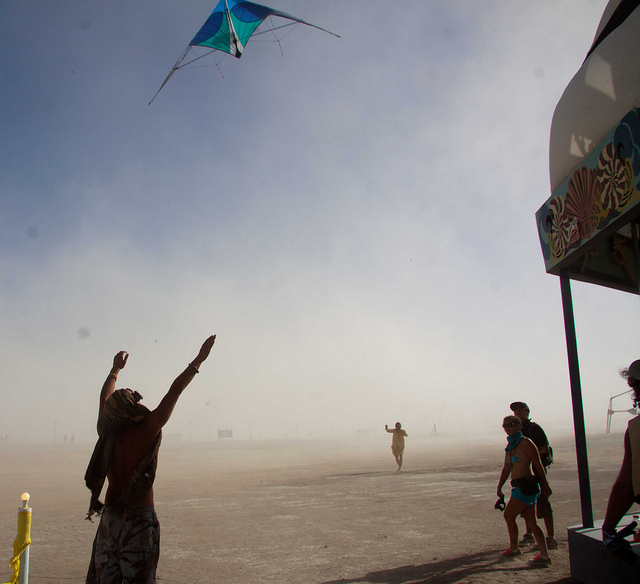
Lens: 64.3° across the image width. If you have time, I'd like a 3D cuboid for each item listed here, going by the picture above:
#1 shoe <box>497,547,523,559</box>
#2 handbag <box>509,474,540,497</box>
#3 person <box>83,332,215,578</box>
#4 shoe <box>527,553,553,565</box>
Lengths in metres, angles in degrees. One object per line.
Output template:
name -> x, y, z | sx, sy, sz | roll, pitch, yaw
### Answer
shoe -> 2.528, 3.510, 6.844 | 0.299, 0.161, 0.134 | 0, -32, -5
handbag -> 2.684, 2.535, 6.632 | 0.226, 0.141, 0.230 | 5, -8, -10
person -> -1.322, 1.302, 3.666 | 0.803, 1.428, 0.283 | -5, -12, 15
shoe -> 2.790, 3.390, 6.451 | 0.294, 0.167, 0.134 | 1, -38, 4
